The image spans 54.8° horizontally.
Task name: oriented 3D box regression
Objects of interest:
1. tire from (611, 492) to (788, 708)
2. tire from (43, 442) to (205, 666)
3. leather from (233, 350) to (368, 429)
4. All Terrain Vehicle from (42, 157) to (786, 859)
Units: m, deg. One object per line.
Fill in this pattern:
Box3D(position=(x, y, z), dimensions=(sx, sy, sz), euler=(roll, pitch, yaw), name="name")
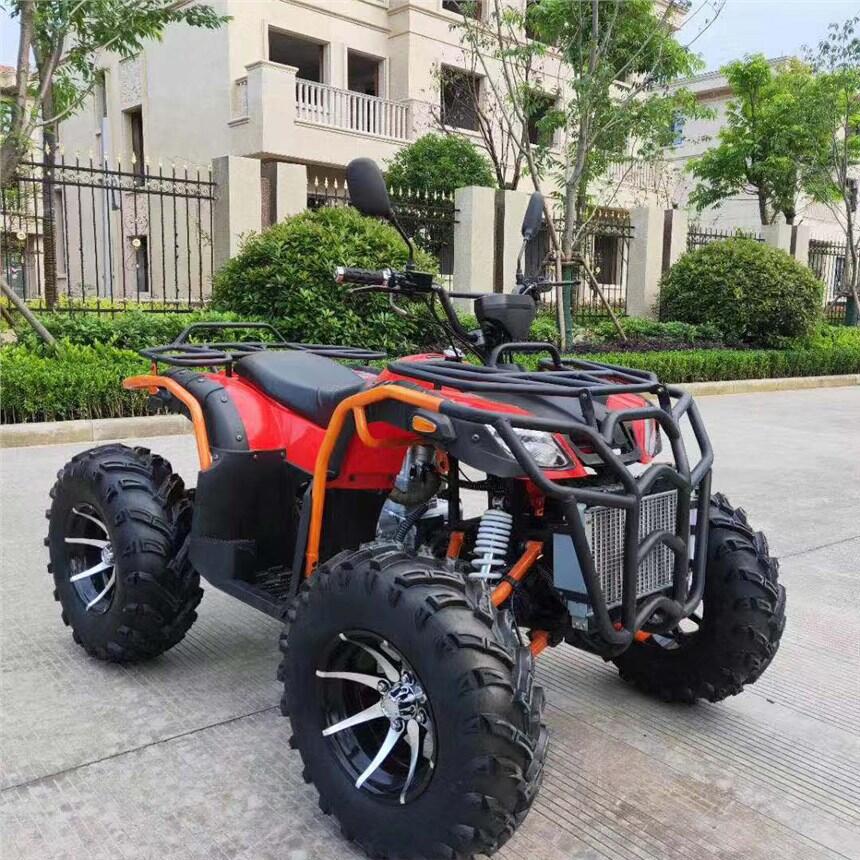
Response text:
Box3D(position=(0.807, 0.548, 2.535), dimensions=(0.189, 0.596, 0.576), euler=(-12, 36, -38), name="tire")
Box3D(position=(-1.122, 0.486, 3.036), dimensions=(0.223, 0.619, 0.618), euler=(1, 27, -45), name="tire")
Box3D(position=(-0.462, -0.188, 2.902), dimensions=(0.392, 0.106, 0.294), euler=(25, 27, 32), name="leather")
Box3D(position=(-0.076, 0.032, 3.184), dimensions=(1.710, 1.886, 2.466), euler=(-3, 8, -43), name="All Terrain Vehicle")
